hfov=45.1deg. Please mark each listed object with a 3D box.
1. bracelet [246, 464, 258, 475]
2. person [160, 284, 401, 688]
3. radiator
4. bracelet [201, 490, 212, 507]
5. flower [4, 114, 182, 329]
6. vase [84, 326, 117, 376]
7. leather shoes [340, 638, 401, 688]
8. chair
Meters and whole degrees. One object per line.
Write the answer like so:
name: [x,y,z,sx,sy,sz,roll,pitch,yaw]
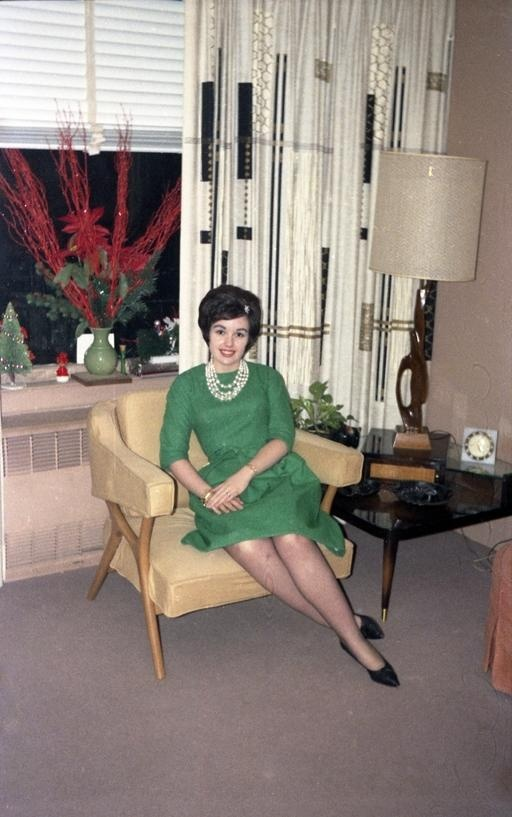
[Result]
bracelet: [-0.015,0.180,1.844,0.027,0.008,0.028,60,8,34]
person: [0.016,0.182,1.759,0.471,0.813,1.110,-9,26,-24]
radiator: [-0.756,0.310,2.304,0.523,0.505,0.194,-6,18,-22]
bracelet: [-0.150,0.264,1.825,0.017,0.044,0.037,14,-3,-10]
flower: [-0.686,-0.775,2.643,0.286,0.857,0.746,8,11,36]
vase: [-0.676,-0.245,2.665,0.136,0.211,0.123,-4,10,-34]
leather shoes: [0.328,0.744,1.826,0.077,0.039,0.234,-18,32,-29]
chair: [-0.135,0.334,2.103,0.828,0.709,0.698,-3,10,-32]
